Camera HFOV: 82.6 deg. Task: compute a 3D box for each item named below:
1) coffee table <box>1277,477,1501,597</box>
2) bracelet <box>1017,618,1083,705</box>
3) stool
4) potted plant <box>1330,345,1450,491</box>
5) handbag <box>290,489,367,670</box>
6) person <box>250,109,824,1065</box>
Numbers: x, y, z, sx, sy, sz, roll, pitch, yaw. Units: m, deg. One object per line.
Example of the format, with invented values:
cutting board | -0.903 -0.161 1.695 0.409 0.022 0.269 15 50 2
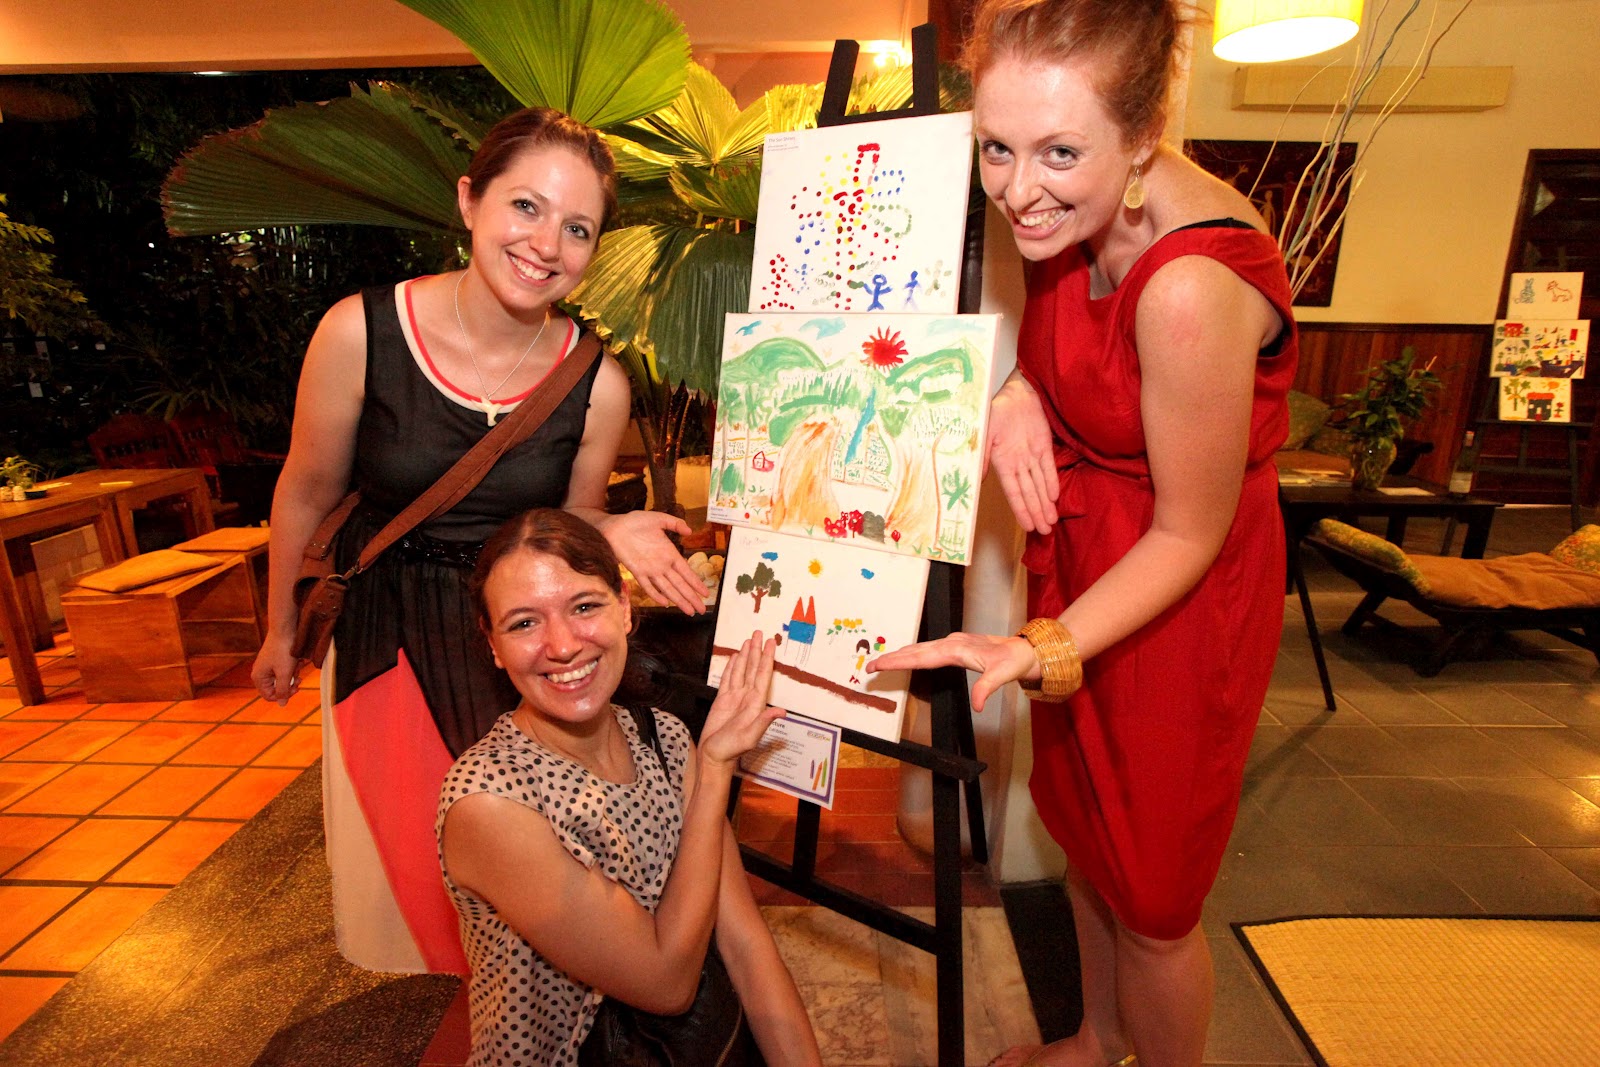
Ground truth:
coffee table | 3.358 -0.147 5.527 1.201 0.722 1.178 -1 11 -3
bracelet | 0.560 0.274 2.081 0.139 0.109 0.176 4 40 1
stool | -3.062 0.405 4.380 0.414 0.433 0.788 -1 16 -1
potted plant | 3.416 -0.674 5.332 0.415 0.803 0.321 12 18 35
handbag | -1.228 0.125 2.326 0.129 0.339 0.264 7 -13 -33
person | -0.925 0.064 2.360 0.974 2.202 0.435 -5 16 -23
